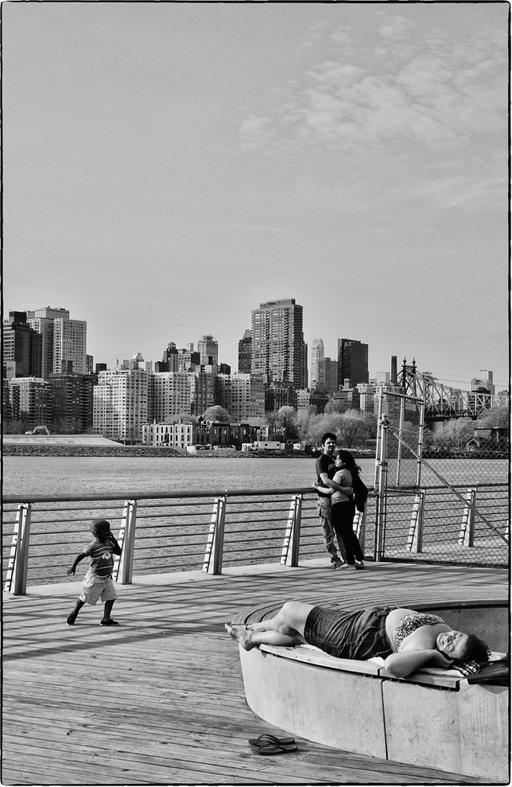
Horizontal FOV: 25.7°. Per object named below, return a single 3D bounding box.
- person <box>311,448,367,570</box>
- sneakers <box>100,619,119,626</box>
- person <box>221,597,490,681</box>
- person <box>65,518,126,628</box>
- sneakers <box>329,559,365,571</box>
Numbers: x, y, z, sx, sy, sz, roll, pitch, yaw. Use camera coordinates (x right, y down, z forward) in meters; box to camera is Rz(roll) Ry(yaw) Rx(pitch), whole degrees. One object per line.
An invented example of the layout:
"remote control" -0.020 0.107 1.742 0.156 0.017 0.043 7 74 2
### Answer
"person" 0.982 1.291 12.511 0.495 1.277 0.860 2 0 22
"sneakers" -1.130 1.755 8.623 0.116 0.066 0.061 1 -1 -8
"person" 0.473 1.243 5.837 1.439 0.387 0.763 -6 3 33
"person" -1.270 1.365 8.786 0.394 0.745 1.039 2 0 -8
"sneakers" 1.048 1.914 12.728 0.353 0.183 0.134 3 -6 5
